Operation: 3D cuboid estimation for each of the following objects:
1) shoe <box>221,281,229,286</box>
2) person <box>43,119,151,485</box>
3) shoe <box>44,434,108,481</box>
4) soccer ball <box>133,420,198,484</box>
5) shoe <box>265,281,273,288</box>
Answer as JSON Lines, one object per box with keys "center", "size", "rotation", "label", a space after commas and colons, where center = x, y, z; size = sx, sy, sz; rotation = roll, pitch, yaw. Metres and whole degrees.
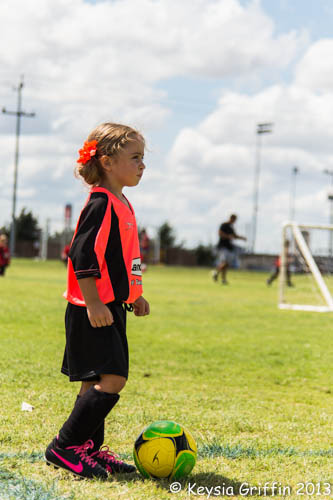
{"center": [0.300, 0.168, 3.256], "size": [0.021, 0.022, 0.060], "rotation": [3, -10, -4], "label": "shoe"}
{"center": [-0.275, 0.206, 2.643], "size": [0.559, 1.373, 0.417], "rotation": [-5, -1, -12], "label": "person"}
{"center": [-0.361, 0.849, 2.624], "size": [0.289, 0.133, 0.092], "rotation": [18, 2, 5], "label": "shoe"}
{"center": [-0.013, 0.830, 2.748], "size": [0.264, 0.209, 0.230], "rotation": [6, 5, 38], "label": "soccer ball"}
{"center": [0.489, 0.163, 3.036], "size": [0.027, 0.033, 0.010], "rotation": [-8, -7, 12], "label": "shoe"}
